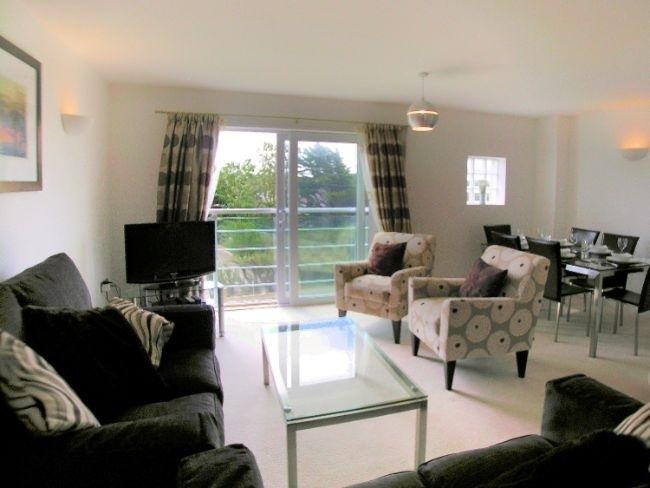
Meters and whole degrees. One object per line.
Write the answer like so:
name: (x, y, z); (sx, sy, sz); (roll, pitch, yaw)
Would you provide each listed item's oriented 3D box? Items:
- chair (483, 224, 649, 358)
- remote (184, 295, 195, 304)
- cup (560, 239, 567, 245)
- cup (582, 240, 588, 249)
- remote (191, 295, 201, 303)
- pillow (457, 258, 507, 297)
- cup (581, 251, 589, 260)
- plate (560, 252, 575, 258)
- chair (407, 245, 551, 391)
chair: (2.468, 0.372, 5.684); (1.070, 1.885, 1.058); (-8, 8, -13)
remote: (-1.257, 0.518, 4.683); (0.072, 0.052, 0.069); (0, 13, -10)
cup: (2.685, -0.018, 5.659); (0.090, 0.063, 0.170); (0, -3, 8)
cup: (2.559, 0.012, 4.917); (0.042, 0.080, 0.082); (0, 5, 3)
remote: (-1.257, 0.528, 4.887); (0.141, 0.057, 0.048); (-3, 1, 13)
pillow: (1.298, 0.310, 4.119); (0.093, 0.298, 0.305); (27, 3, -23)
cup: (2.542, 0.100, 4.903); (0.062, 0.058, 0.238); (2, 5, 27)
plate: (2.421, 0.099, 4.988); (0.134, 0.067, 0.218); (2, 5, 26)
chair: (1.277, 0.542, 4.570); (1.202, 1.313, 1.005); (-1, 4, -20)
